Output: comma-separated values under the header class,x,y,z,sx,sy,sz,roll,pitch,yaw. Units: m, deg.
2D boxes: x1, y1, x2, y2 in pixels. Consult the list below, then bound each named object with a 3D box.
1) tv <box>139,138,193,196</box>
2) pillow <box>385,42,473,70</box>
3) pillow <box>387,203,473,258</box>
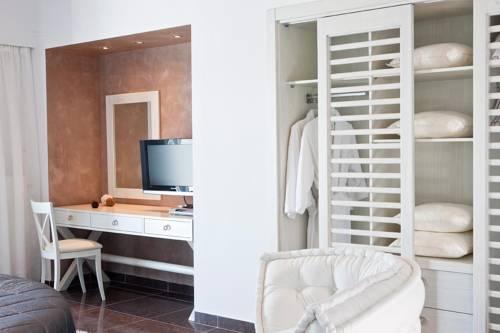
class,x,y,z,sx,sy,sz,roll,pitch,yaw
tv,-0.953,-0.001,4.507,0.734,0.409,0.054,2,4,28
pillow,1.461,-0.837,2.950,0.330,0.101,0.348,-10,7,-25
pillow,1.448,0.497,3.005,0.489,0.394,0.356,2,4,29
